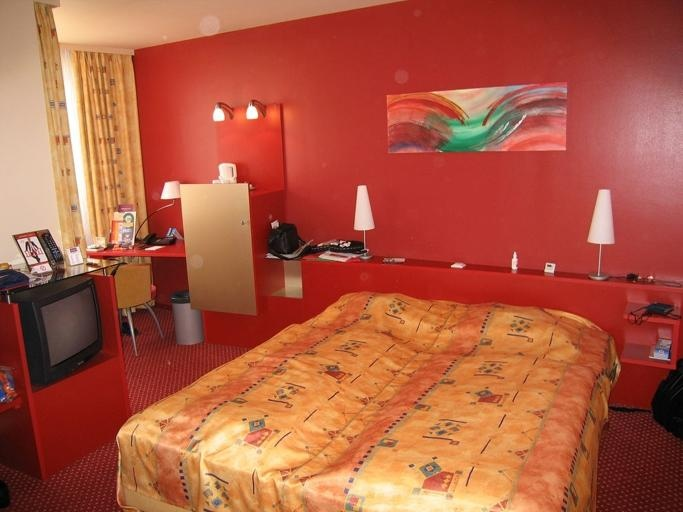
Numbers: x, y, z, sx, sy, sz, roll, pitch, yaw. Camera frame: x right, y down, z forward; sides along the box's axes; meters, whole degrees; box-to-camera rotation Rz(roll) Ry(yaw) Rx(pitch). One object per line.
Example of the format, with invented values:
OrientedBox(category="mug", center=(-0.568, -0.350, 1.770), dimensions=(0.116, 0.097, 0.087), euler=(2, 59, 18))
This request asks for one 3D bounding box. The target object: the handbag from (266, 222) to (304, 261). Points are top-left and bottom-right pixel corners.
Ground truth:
OrientedBox(category="handbag", center=(-0.613, -0.174, 5.006), dimensions=(0.376, 0.270, 0.415), euler=(6, 19, -12))

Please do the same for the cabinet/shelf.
OrientedBox(category="cabinet/shelf", center=(-1.267, -0.149, 5.073), dimensions=(0.896, 1.297, 0.487), euler=(2, 11, -4))

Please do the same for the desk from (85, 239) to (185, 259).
OrientedBox(category="desk", center=(-2.107, -0.033, 5.431), dimensions=(1.211, 0.166, 0.522), euler=(2, 14, 13))

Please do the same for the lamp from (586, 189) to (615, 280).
OrientedBox(category="lamp", center=(2.096, -0.175, 3.960), dimensions=(0.194, 0.718, 0.358), euler=(6, 16, 28))

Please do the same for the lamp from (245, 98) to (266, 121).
OrientedBox(category="lamp", center=(-0.881, -1.523, 5.132), dimensions=(0.195, 0.198, 0.257), euler=(-3, 14, -6))

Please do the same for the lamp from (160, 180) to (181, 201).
OrientedBox(category="lamp", center=(-1.972, -0.764, 5.689), dimensions=(0.250, 0.222, 0.242), euler=(6, 17, 21))

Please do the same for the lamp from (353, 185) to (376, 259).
OrientedBox(category="lamp", center=(0.232, -0.340, 4.820), dimensions=(0.207, 0.688, 0.387), euler=(-1, 14, 1))

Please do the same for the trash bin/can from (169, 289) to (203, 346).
OrientedBox(category="trash bin/can", center=(-1.670, 0.672, 5.485), dimensions=(0.469, 0.630, 0.441), euler=(1, -8, -13))

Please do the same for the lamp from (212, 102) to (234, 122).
OrientedBox(category="lamp", center=(-1.251, -1.528, 5.272), dimensions=(0.167, 0.201, 0.295), euler=(5, 7, 34))

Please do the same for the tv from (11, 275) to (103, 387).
OrientedBox(category="tv", center=(-2.052, 0.501, 3.538), dimensions=(0.354, 0.558, 0.613), euler=(3, 14, 11))

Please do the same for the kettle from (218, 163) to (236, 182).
OrientedBox(category="kettle", center=(-1.177, -0.855, 5.105), dimensions=(0.165, 0.181, 0.193), euler=(-5, 14, -13))
